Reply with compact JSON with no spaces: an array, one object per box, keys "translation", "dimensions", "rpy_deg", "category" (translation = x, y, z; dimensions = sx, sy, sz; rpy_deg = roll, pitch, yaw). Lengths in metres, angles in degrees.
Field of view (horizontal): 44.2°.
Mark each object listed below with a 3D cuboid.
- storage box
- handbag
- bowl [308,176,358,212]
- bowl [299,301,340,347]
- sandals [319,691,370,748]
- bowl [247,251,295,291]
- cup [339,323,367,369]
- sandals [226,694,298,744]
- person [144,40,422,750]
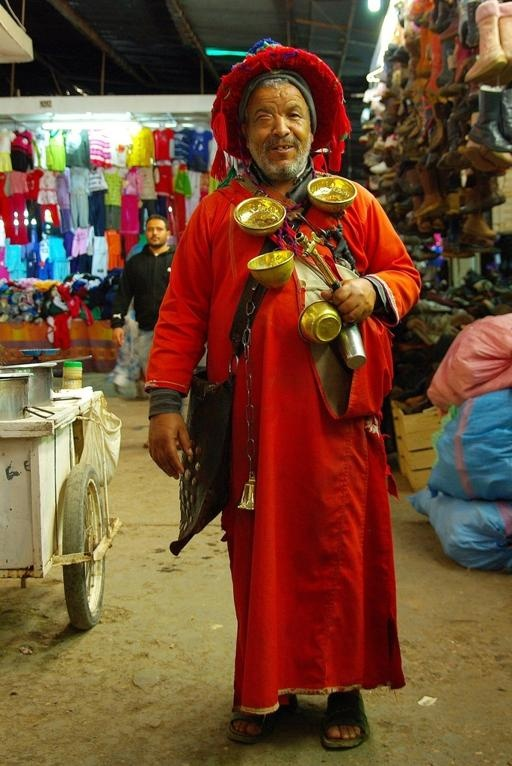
[{"translation":[1.036,0.404,4.007],"dimensions":[0.325,0.397,0.575],"rpy_deg":[-1,7,-2],"category":"storage box"},{"translation":[-0.131,0.198,1.518],"dimensions":[0.151,0.435,0.244],"rpy_deg":[0,4,-6],"category":"handbag"},{"translation":[0.184,-0.453,1.509],"dimensions":[0.099,0.096,0.045],"rpy_deg":[-23,-32,-13],"category":"bowl"},{"translation":[0.139,-0.129,1.364],"dimensions":[0.087,0.089,0.088],"rpy_deg":[0,4,0],"category":"bowl"},{"translation":[0.217,0.843,1.586],"dimensions":[0.071,0.079,0.204],"rpy_deg":[-2,-13,7],"category":"sandals"},{"translation":[0.036,-0.252,1.375],"dimensions":[0.105,0.083,0.076],"rpy_deg":[-3,5,-44],"category":"bowl"},{"translation":[0.209,-0.076,1.384],"dimensions":[0.057,0.101,0.101],"rpy_deg":[0,4,7],"category":"cup"},{"translation":[0.018,0.875,1.668],"dimensions":[0.075,0.076,0.241],"rpy_deg":[-6,-15,26],"category":"sandals"},{"translation":[0.064,0.023,1.565],"dimensions":[0.650,1.808,0.496],"rpy_deg":[1,4,13],"category":"person"}]
